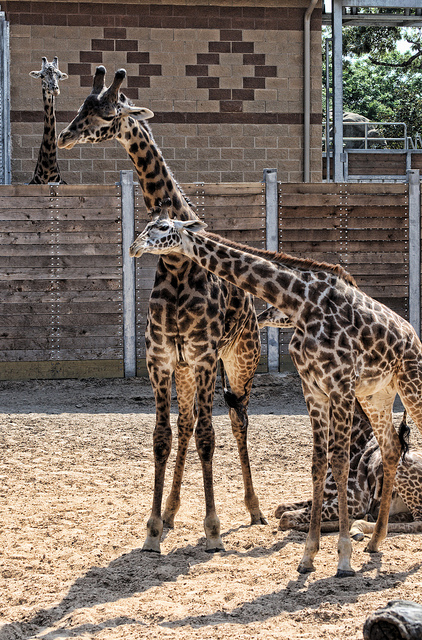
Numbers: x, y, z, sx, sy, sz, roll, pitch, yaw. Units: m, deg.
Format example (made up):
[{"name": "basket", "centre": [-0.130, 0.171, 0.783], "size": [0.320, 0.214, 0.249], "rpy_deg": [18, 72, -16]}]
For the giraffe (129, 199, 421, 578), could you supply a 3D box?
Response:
[{"name": "giraffe", "centre": [0.805, 0.627, 12.972], "size": [2.098, 2.891, 0.952], "rpy_deg": [-1, 11, -4]}]
